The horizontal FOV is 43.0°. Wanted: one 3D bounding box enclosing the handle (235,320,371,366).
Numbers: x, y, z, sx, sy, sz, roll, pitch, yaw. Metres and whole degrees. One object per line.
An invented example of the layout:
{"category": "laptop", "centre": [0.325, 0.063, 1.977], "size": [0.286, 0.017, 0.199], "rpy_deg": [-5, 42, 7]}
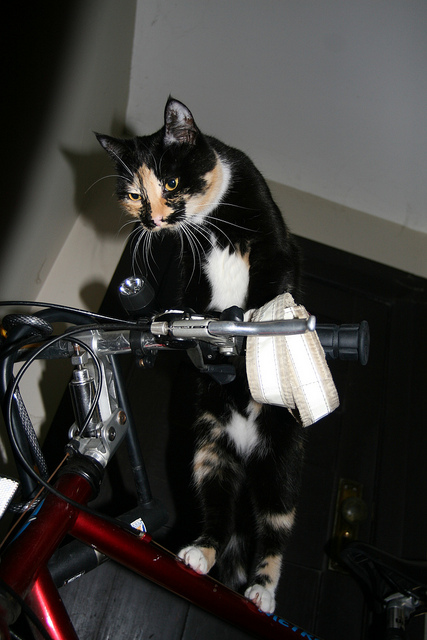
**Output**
{"category": "handle", "centre": [0.112, 0.014, 0.684], "size": [0.170, 0.068, 0.064], "rpy_deg": [2, 7, 26]}

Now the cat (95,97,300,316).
{"category": "cat", "centre": [0.076, -0.249, 1.547], "size": [0.280, 0.435, 0.954], "rpy_deg": [-11, 3, 24]}

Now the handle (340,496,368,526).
{"category": "handle", "centre": [0.284, 0.378, 1.082], "size": [0.050, 0.051, 0.012], "rpy_deg": [-3, -11, -21]}
